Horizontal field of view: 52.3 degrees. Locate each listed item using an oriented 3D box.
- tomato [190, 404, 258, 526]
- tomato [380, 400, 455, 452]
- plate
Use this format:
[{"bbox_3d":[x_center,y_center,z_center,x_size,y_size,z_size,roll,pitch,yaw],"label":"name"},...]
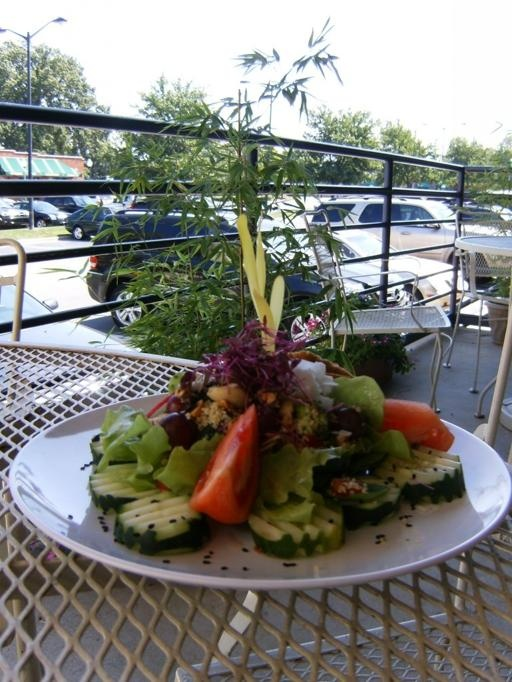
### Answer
[{"bbox_3d":[-0.014,0.074,0.310,0.036,0.064,0.028,24,-23,-7],"label":"tomato"},{"bbox_3d":[0.118,0.063,0.385,0.063,0.030,0.026,14,15,-9],"label":"tomato"},{"bbox_3d":[-0.013,0.094,0.370,0.356,0.026,0.248,4,10,19],"label":"plate"}]
